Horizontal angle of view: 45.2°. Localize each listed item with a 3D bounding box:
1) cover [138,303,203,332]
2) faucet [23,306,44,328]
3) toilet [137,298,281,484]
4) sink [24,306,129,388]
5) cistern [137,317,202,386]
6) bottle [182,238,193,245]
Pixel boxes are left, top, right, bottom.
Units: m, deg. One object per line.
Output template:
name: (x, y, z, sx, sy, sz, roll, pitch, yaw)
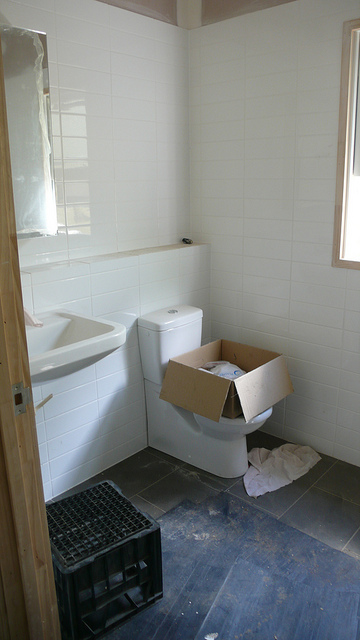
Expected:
cover: (-0.066, -0.018, 2.326, 0.130, 0.056, 0.242, 24, 33, 39)
faucet: (-0.524, -0.011, 1.532, 0.034, 0.044, 0.132, 10, -14, 18)
toilet: (0.139, 0.377, 2.280, 0.699, 0.886, 0.424, 14, 27, 34)
sink: (-0.473, 0.089, 1.659, 0.458, 0.183, 0.465, 10, 16, 41)
cistern: (-0.055, 0.083, 2.449, 0.252, 0.453, 0.464, 14, 24, 32)
bottle: (0.046, -0.506, 2.772, 0.065, 0.037, 0.141, -1, 12, 0)
